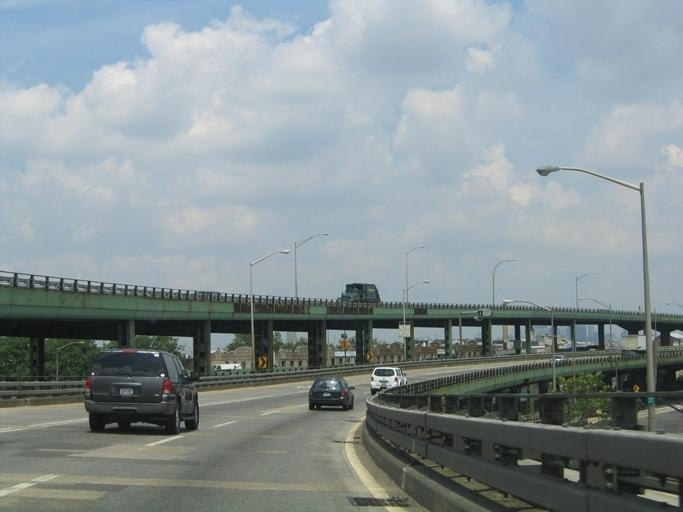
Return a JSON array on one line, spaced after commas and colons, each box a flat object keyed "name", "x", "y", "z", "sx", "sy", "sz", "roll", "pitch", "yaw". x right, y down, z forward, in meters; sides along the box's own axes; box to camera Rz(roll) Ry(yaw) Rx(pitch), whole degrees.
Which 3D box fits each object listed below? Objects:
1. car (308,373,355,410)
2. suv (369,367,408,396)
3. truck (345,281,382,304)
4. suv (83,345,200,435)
[{"name": "car", "x": -0.431, "y": 5.737, "z": 40.318, "sx": 1.765, "sy": 1.459, "sz": 1.751, "roll": -1, "pitch": -8, "yaw": 1}, {"name": "suv", "x": 2.677, "y": 6.919, "z": 53.563, "sx": 1.245, "sy": 1.065, "sz": 2.421, "roll": -1, "pitch": 2, "yaw": 17}, {"name": "truck", "x": 2.132, "y": 3.978, "z": 103.401, "sx": 2.935, "sy": 1.654, "sz": 2.210, "roll": -3, "pitch": -6, "yaw": 32}, {"name": "suv", "x": -4.670, "y": 3.358, "z": 24.273, "sx": 1.706, "sy": 1.372, "sz": 3.110, "roll": -1, "pitch": -4, "yaw": 11}]
